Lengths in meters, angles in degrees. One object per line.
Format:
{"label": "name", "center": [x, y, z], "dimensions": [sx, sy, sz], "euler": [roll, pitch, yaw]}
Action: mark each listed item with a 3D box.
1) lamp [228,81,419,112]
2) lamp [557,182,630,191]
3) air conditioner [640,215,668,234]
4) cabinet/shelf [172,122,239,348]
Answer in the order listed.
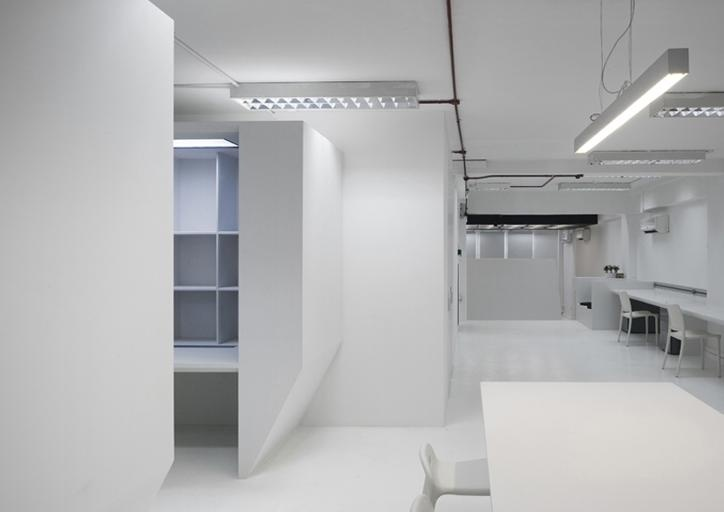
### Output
{"label": "lamp", "center": [-0.299, -1.308, 4.416], "dimensions": [1.496, 0.218, 0.362], "euler": [4, 7, 8]}
{"label": "lamp", "center": [4.018, -1.216, 9.388], "dimensions": [1.550, 0.186, 0.400], "euler": [0, 8, -25]}
{"label": "air conditioner", "center": [5.202, -0.577, 9.649], "dimensions": [0.250, 0.356, 0.630], "euler": [4, 7, 7]}
{"label": "cabinet/shelf", "center": [-1.303, -0.132, 4.606], "dimensions": [0.529, 1.810, 0.981], "euler": [0, 7, -19]}
